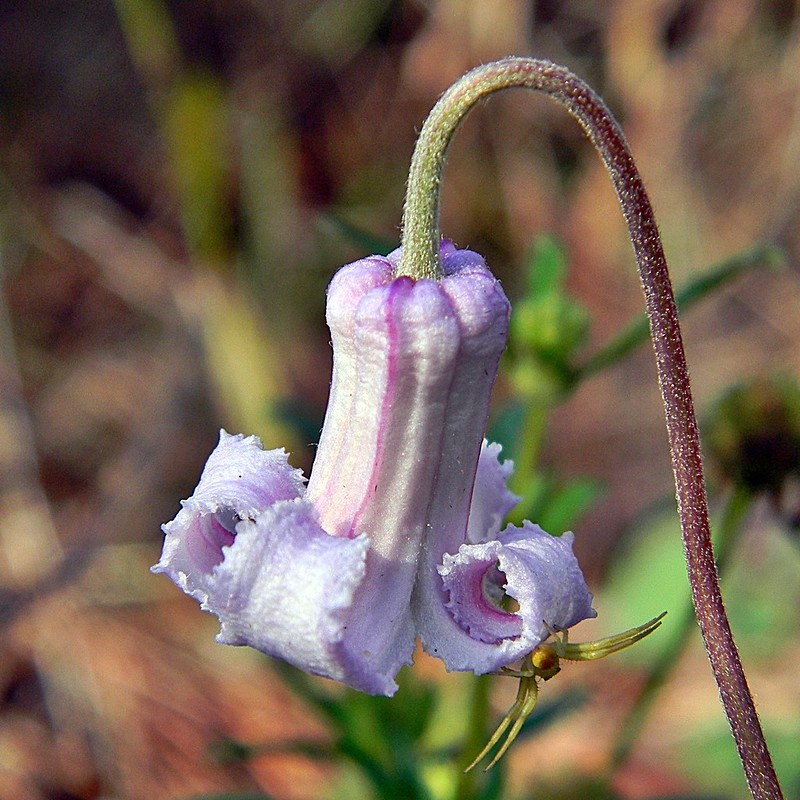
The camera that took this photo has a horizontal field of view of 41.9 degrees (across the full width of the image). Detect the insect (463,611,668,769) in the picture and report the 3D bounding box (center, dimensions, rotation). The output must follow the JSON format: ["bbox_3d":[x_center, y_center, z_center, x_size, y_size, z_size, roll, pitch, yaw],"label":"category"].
[{"bbox_3d":[0.234,0.422,1.615,0.272,0.087,0.304,-36,-8,6],"label":"insect"}]
